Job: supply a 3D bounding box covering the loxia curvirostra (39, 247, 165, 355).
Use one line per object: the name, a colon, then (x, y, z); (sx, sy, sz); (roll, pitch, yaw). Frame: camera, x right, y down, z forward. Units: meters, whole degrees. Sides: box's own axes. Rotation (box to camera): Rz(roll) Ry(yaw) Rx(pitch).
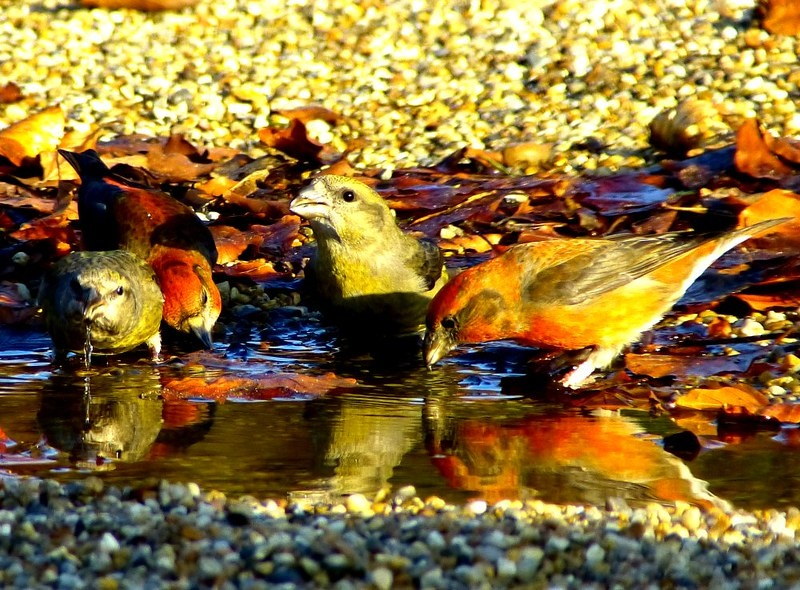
loxia curvirostra: (-1.852, 0.105, 5.763); (0.887, 0.458, 0.890); (6, 16, -9)
